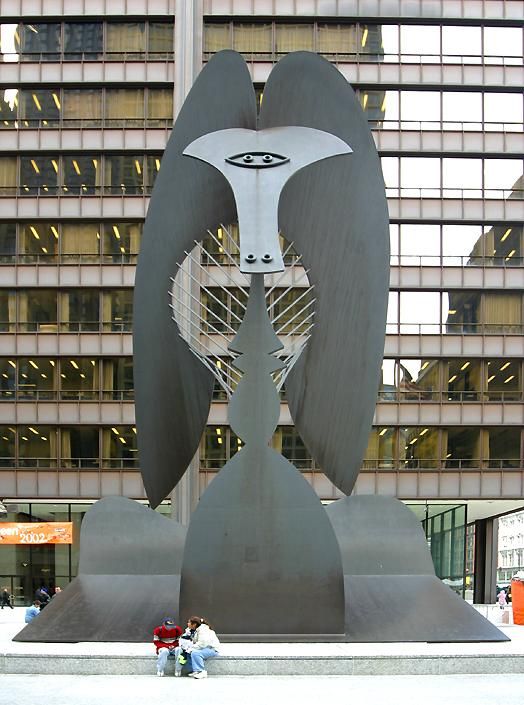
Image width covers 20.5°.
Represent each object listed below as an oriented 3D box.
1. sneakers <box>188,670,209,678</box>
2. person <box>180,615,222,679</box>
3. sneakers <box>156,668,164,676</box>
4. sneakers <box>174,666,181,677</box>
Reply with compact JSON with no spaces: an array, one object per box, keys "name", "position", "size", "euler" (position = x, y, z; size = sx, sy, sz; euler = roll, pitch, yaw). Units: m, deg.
[{"name":"sneakers","position":[-1.446,7.434,33.113],"size":[0.411,0.243,0.163],"euler":[2,-16,-1]},{"name":"person","position":[-1.444,6.849,33.287],"size":[0.886,1.351,0.503],"euler":[1,-5,-9]},{"name":"sneakers","position":[-2.329,7.397,33.189],"size":[0.158,0.174,0.135],"euler":[1,-5,-6]},{"name":"sneakers","position":[-1.949,7.374,33.152],"size":[0.162,0.206,0.136],"euler":[-1,-5,11]}]
